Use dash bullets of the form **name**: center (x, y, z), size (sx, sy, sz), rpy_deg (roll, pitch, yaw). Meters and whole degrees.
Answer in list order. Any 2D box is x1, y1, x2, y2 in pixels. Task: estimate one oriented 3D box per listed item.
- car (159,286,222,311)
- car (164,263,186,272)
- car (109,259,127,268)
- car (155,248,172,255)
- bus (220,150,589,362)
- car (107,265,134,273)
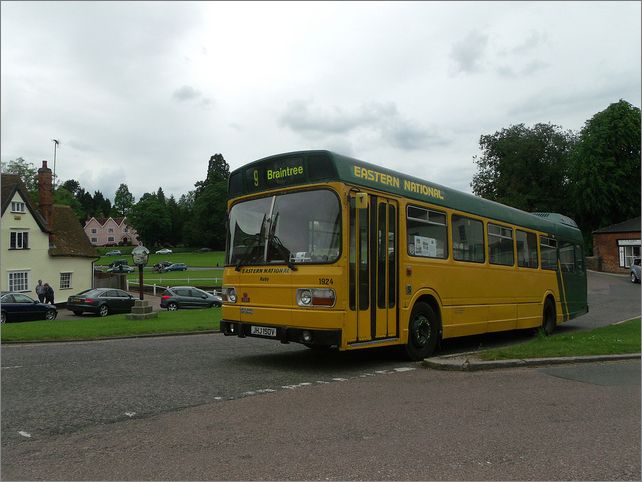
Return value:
- **car**: center (-8.452, 3.780, 30.178), size (3.221, 1.350, 1.763), rpy_deg (0, -2, -29)
- **car**: center (-21.304, 3.987, 68.950), size (2.558, 1.179, 1.325), rpy_deg (4, -3, -7)
- **car**: center (-31.271, 3.407, 72.013), size (2.647, 1.420, 1.873), rpy_deg (2, -1, -1)
- **car**: center (-33.417, 2.441, 99.622), size (2.483, 1.441, 5.130), rpy_deg (-1, -5, -12)
- **bus**: center (4.059, 0.700, 13.463), size (14.446, 4.477, 3.333), rpy_deg (2, -6, -42)
- **car**: center (-28.875, 4.058, 67.707), size (3.357, 1.234, 6.597), rpy_deg (0, -5, -25)
